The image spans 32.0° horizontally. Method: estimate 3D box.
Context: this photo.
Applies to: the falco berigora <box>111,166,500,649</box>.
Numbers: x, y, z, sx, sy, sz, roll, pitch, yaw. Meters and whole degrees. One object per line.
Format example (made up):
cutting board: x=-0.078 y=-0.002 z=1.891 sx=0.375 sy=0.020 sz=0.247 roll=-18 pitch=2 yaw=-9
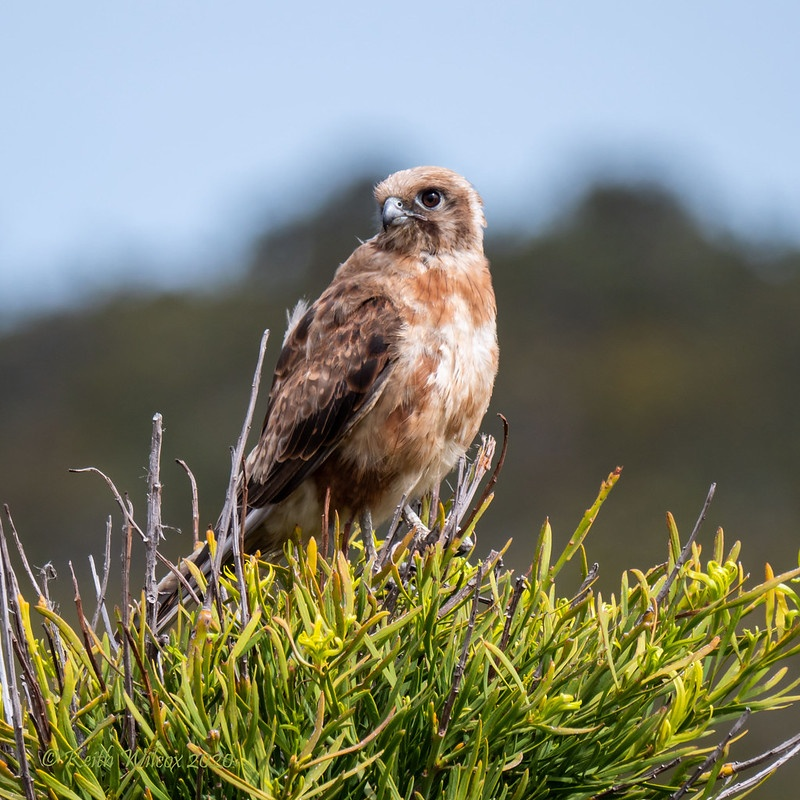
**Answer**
falco berigora: x=-0.160 y=0.036 z=4.045 sx=1.038 sy=1.358 sz=0.679 roll=-21 pitch=-29 yaw=33
